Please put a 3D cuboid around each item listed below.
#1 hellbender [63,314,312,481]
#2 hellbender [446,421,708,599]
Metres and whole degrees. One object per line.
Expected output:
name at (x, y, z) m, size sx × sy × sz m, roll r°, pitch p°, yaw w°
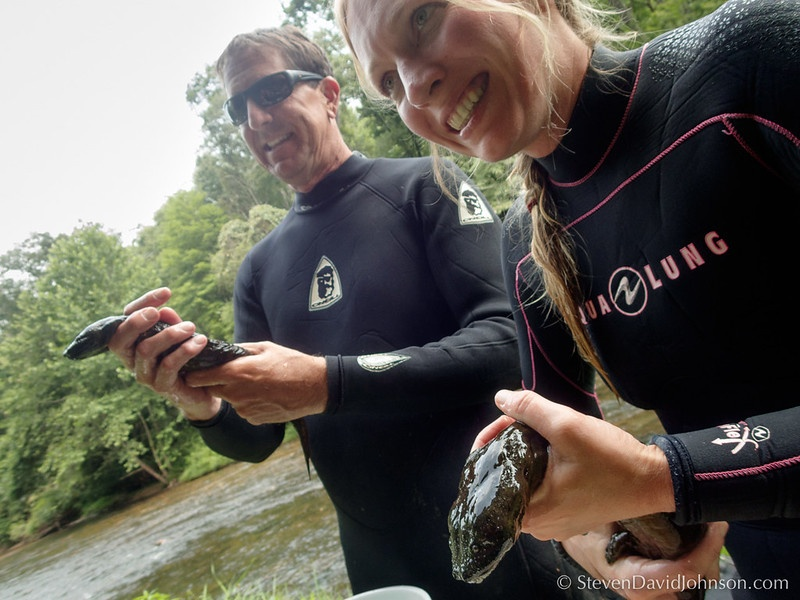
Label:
hellbender at (-0.850, 0.399, 2.552) m, size 0.697 × 0.883 × 0.311 m, roll -31°, pitch 6°, yaw 12°
hellbender at (0.537, 0.627, 2.039) m, size 0.300 × 0.866 × 0.548 m, roll 47°, pitch 119°, yaw 50°
